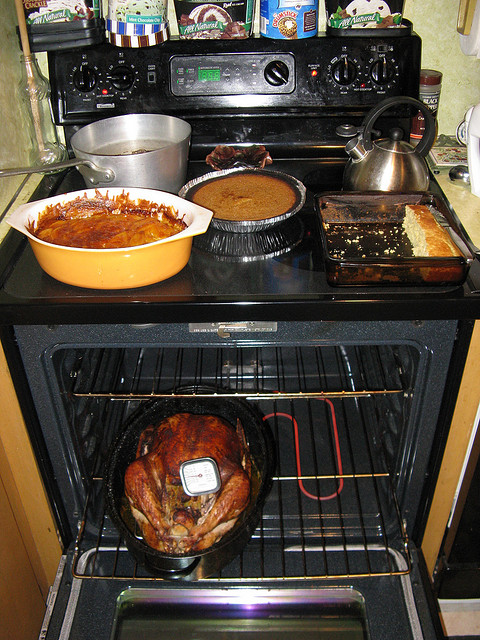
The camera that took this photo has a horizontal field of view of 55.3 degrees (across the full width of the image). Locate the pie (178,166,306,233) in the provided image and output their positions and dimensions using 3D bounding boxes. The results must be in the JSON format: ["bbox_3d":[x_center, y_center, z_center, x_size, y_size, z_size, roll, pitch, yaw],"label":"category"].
[{"bbox_3d":[0.005,-0.217,0.838,0.199,0.091,0.232,-2,34,3],"label":"pie"}]

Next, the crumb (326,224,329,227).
[{"bbox_3d":[0.154,-0.166,0.802,0.004,0.005,0.005,-7,11,-2],"label":"crumb"}]

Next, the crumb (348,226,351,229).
[{"bbox_3d":[0.192,-0.161,0.796,0.005,0.001,0.006,2,54,11],"label":"crumb"}]

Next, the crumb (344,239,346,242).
[{"bbox_3d":[0.175,-0.132,0.757,0.003,0.004,0.003,-2,37,5],"label":"crumb"}]

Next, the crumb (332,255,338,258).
[{"bbox_3d":[0.142,-0.096,0.686,0.007,0.002,0.007,12,31,20],"label":"crumb"}]

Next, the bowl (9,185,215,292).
[{"bbox_3d":[-0.179,-0.122,0.702,0.260,0.085,0.203,4,43,-5],"label":"bowl"}]
